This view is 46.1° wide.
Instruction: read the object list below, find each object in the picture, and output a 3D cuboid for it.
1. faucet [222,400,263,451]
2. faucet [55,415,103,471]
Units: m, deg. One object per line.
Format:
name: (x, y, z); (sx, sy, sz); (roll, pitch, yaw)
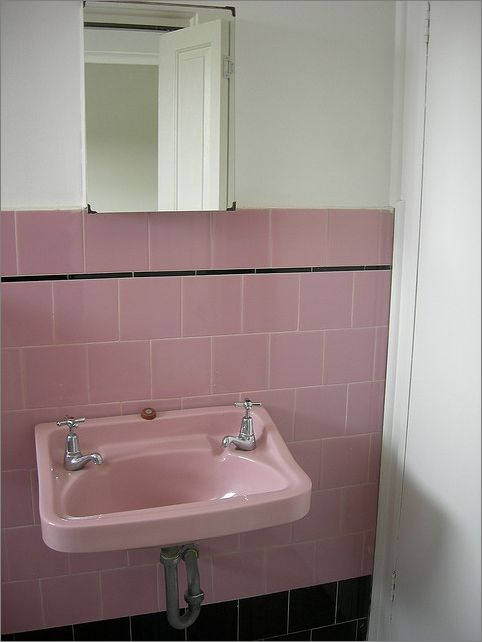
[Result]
faucet: (0.007, 0.257, 1.424); (0.104, 0.149, 0.099); (2, -1, -16)
faucet: (-0.364, 0.265, 1.267); (0.090, 0.109, 0.139); (-3, 10, -26)
